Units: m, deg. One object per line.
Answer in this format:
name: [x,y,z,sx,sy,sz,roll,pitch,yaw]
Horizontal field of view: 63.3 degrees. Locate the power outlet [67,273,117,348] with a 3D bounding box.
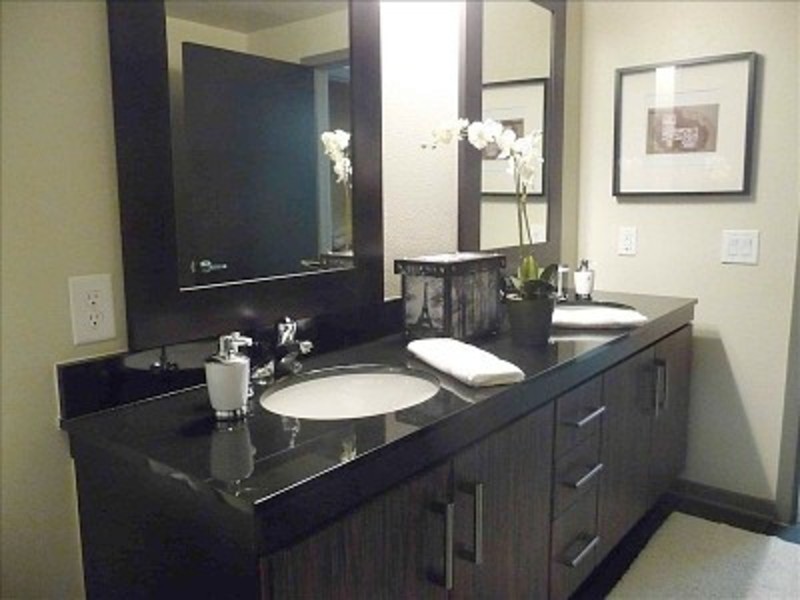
power outlet: [-0.716,0.020,1.508,0.096,0.155,0.028,-7,13,-29]

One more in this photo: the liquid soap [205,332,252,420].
liquid soap: [-0.385,0.166,1.466,0.099,0.172,0.089,-8,18,-38]

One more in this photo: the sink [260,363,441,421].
sink: [-0.139,0.202,1.737,0.402,0.123,0.449,3,6,35]

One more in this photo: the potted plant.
potted plant: [0.419,0.008,2.065,0.168,0.227,0.167,6,12,39]

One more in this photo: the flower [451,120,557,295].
flower: [0.343,-0.270,2.265,0.491,0.682,0.145,0,9,-42]

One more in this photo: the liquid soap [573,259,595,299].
liquid soap: [0.789,-0.094,2.780,0.092,0.157,0.089,-1,15,0]

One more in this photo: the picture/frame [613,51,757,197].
picture/frame: [1.263,-0.776,2.924,0.599,0.591,0.053,7,14,35]

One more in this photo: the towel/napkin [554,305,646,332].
towel/napkin: [0.733,0.049,2.393,0.315,0.044,0.445,2,11,15]

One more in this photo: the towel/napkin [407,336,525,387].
towel/napkin: [0.167,0.146,1.752,0.323,0.092,0.405,2,8,-19]

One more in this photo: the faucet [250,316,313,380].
faucet: [-0.326,0.127,1.748,0.135,0.168,0.156,-4,15,-42]
